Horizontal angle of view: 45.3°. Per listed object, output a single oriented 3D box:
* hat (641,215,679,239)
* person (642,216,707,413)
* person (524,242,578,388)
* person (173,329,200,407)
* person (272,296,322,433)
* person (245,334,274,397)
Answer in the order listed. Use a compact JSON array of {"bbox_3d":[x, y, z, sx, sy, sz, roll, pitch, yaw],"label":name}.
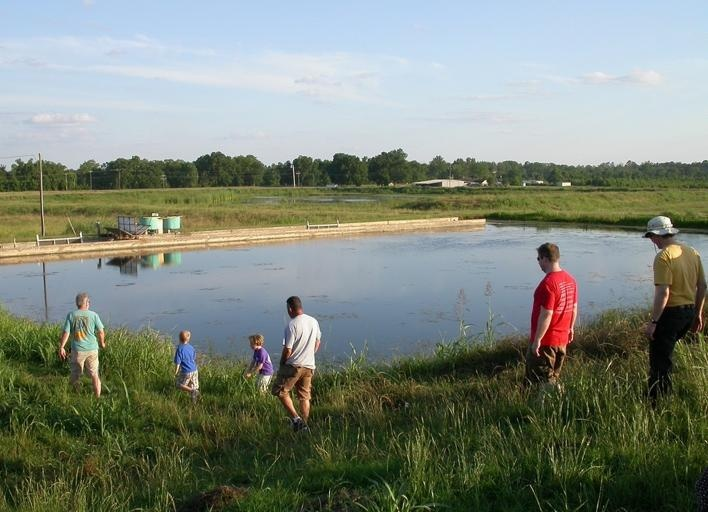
[{"bbox_3d":[4.784,-0.457,13.066,0.595,0.355,0.597,-8,0,0],"label":"hat"},{"bbox_3d":[4.736,0.809,12.869,1.139,2.736,0.573,-8,10,-37],"label":"person"},{"bbox_3d":[3.135,0.954,13.555,0.756,2.276,0.619,-7,10,-33],"label":"person"},{"bbox_3d":[-3.149,1.893,15.916,0.419,1.233,1.779,-4,8,-11],"label":"person"},{"bbox_3d":[-0.939,1.838,14.178,0.822,2.273,0.651,3,-3,-27],"label":"person"},{"bbox_3d":[-1.779,1.943,15.680,0.487,1.165,0.935,-3,8,-7],"label":"person"}]
